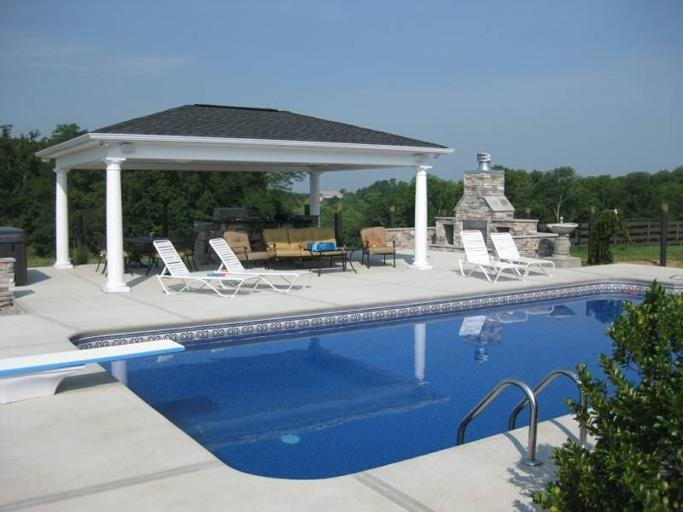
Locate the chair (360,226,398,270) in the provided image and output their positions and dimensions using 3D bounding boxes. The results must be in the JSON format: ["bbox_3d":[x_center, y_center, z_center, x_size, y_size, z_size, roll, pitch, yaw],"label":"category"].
[{"bbox_3d":[0.901,-0.255,14.613,0.802,0.841,0.866,-2,8,-7],"label":"chair"}]

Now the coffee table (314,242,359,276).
[{"bbox_3d":[-0.165,0.002,14.128,1.075,0.852,2.640,0,10,1],"label":"coffee table"}]

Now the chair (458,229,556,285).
[{"bbox_3d":[3.588,0.022,13.112,2.047,0.897,1.393,-4,4,-38],"label":"chair"}]
